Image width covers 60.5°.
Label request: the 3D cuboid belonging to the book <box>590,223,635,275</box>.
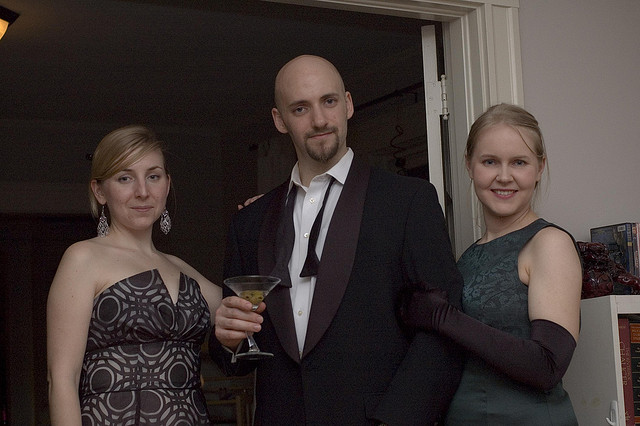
[{"bbox_3d":[1.521,0.195,2.842,0.093,0.246,0.237,-1,-2,-34],"label":"book"}]

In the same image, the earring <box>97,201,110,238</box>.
[{"bbox_3d":[-1.150,0.043,2.918,0.053,0.184,0.276,-2,-4,-22],"label":"earring"}]

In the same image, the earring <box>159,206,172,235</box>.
[{"bbox_3d":[-0.852,0.042,3.023,0.044,0.135,0.227,-3,-4,-14],"label":"earring"}]

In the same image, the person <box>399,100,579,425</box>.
[{"bbox_3d":[0.751,0.211,2.391,0.698,1.415,0.484,-5,-4,11],"label":"person"}]

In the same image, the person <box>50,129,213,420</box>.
[{"bbox_3d":[-0.933,0.300,2.751,0.728,1.447,0.396,-3,-4,-12],"label":"person"}]

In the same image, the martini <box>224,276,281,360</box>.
[{"bbox_3d":[-0.276,0.416,2.305,0.215,0.370,0.255,4,-13,-31],"label":"martini"}]

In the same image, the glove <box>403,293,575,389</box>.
[{"bbox_3d":[0.689,0.513,2.215,0.681,0.413,0.102,-5,-4,2],"label":"glove"}]
